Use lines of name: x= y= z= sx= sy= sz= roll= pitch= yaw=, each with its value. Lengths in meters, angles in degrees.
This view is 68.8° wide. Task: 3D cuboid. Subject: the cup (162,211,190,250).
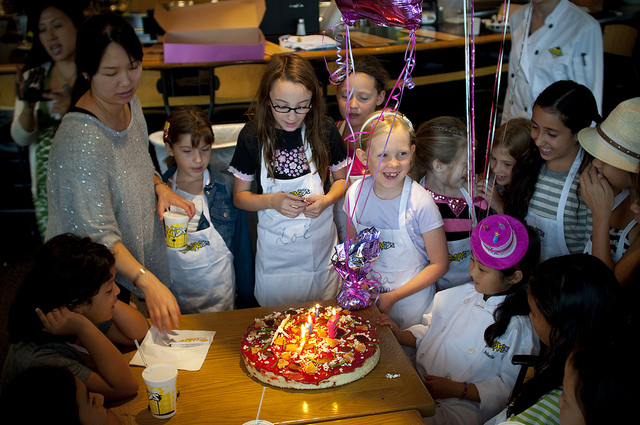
cup: x=-0.772 y=0.091 z=2.496 sx=0.140 sy=0.180 sz=0.130 roll=4 pitch=20 yaw=-2

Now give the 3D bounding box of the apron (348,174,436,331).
apron: x=0.412 y=0.231 z=2.743 sx=0.500 sy=0.852 sz=0.363 roll=0 pitch=20 yaw=12

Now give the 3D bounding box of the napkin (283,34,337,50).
napkin: x=-0.100 y=-1.691 z=4.656 sx=0.519 sy=0.140 sz=0.553 roll=-7 pitch=20 yaw=-5

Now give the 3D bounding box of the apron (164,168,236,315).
apron: x=-0.740 y=0.252 z=2.917 sx=0.427 sy=0.807 sz=0.234 roll=-22 pitch=26 yaw=-39

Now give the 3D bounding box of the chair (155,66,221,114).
chair: x=-1.169 y=-1.091 z=4.094 sx=0.388 sy=0.389 sz=0.327 roll=-1 pitch=21 yaw=-5

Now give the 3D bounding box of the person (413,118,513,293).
person: x=0.810 y=-0.028 z=2.702 sx=0.463 sy=1.088 sz=0.338 roll=-6 pitch=44 yaw=11

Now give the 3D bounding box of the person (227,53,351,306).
person: x=-0.165 y=0.074 z=3.056 sx=0.812 sy=2.024 sz=0.565 roll=-7 pitch=28 yaw=-12

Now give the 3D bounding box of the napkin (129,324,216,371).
napkin: x=-0.686 y=0.626 z=2.195 sx=0.334 sy=0.100 sz=0.231 roll=-3 pitch=20 yaw=7

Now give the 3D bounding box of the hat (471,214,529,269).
hat: x=0.904 y=0.144 z=2.349 sx=0.281 sy=0.264 sz=0.150 roll=1 pitch=21 yaw=16

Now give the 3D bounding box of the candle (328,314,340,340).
candle: x=0.065 y=0.551 z=2.246 sx=0.027 sy=0.080 sz=0.086 roll=2 pitch=15 yaw=12

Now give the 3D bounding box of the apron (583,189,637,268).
apron: x=1.539 y=0.090 z=2.481 sx=0.219 sy=0.372 sz=0.263 roll=6 pitch=23 yaw=29

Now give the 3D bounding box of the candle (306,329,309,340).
candle: x=-0.059 y=0.577 z=2.211 sx=0.014 sy=0.033 sz=0.030 roll=-5 pitch=20 yaw=1

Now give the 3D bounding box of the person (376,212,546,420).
person: x=0.707 y=0.543 z=2.379 sx=0.553 sy=0.881 sz=0.578 roll=-2 pitch=37 yaw=-19

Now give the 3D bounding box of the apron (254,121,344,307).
apron: x=-0.158 y=0.012 z=2.928 sx=0.503 sy=1.252 sz=0.351 roll=-11 pitch=28 yaw=-14

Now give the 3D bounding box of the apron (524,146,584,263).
apron: x=1.344 y=-0.032 z=2.729 sx=0.184 sy=0.581 sz=0.521 roll=5 pitch=0 yaw=17

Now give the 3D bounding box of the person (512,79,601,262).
person: x=1.320 y=-0.190 z=2.613 sx=0.420 sy=1.053 sz=0.361 roll=-26 pitch=45 yaw=-7
